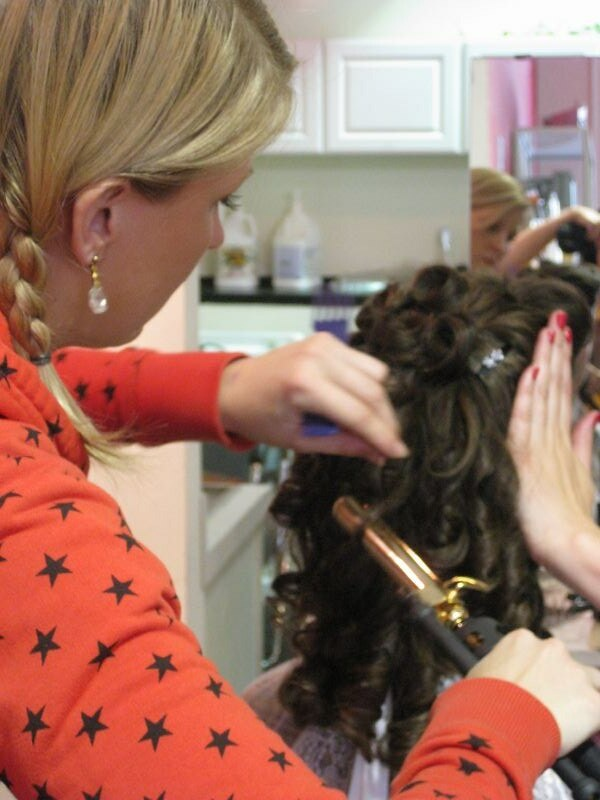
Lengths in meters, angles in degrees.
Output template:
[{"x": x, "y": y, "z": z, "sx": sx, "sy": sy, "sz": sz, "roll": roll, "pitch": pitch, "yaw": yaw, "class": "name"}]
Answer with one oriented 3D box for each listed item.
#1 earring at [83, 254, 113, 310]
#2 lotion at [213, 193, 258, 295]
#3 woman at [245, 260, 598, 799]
[{"x": -0.169, "y": -0.095, "z": 0.652, "sx": 0.015, "sy": 0.049, "sz": 0.015, "roll": 5, "pitch": 10, "yaw": 41, "class": "earring"}, {"x": -0.090, "y": -0.210, "z": 1.105, "sx": 0.062, "sy": 0.123, "sz": 0.047, "roll": -1, "pitch": -5, "yaw": -10, "class": "lotion"}, {"x": 0.077, "y": 0.125, "z": 1.023, "sx": 0.257, "sy": 0.541, "sz": 0.456, "roll": 12, "pitch": 1, "yaw": 37, "class": "woman"}]
